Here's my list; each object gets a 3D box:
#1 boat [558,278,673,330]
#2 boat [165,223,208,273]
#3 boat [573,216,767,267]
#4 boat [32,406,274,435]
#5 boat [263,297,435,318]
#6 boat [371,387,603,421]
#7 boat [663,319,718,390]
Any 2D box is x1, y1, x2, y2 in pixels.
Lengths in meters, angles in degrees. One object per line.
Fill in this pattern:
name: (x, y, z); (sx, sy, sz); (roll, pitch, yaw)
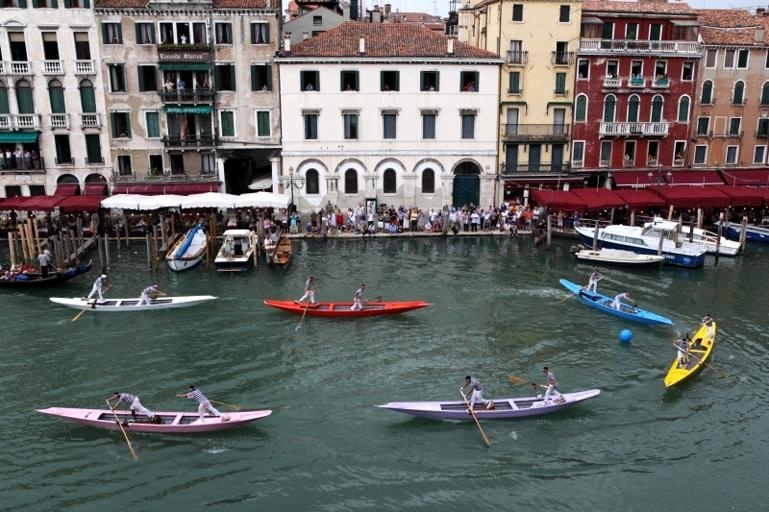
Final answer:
boat: (18.566, 3.950, 71.956); (9.274, 2.347, 2.293); (7, 11, 44)
boat: (-17.727, -0.681, 81.314); (2.219, 1.702, 6.591); (-17, 28, 14)
boat: (25.972, -0.921, 83.489); (16.911, 4.155, 5.190); (9, 19, 29)
boat: (-15.493, 11.102, 60.254); (13.832, 1.632, 1.077); (0, 9, 1)
boat: (-2.876, 4.420, 70.630); (11.806, 1.341, 2.389); (-3, 6, -8)
boat: (7.312, 10.717, 63.238); (15.767, 1.762, 2.149); (-2, 5, -5)
boat: (22.503, 7.678, 65.478); (2.143, 1.476, 9.279); (22, 40, 29)
